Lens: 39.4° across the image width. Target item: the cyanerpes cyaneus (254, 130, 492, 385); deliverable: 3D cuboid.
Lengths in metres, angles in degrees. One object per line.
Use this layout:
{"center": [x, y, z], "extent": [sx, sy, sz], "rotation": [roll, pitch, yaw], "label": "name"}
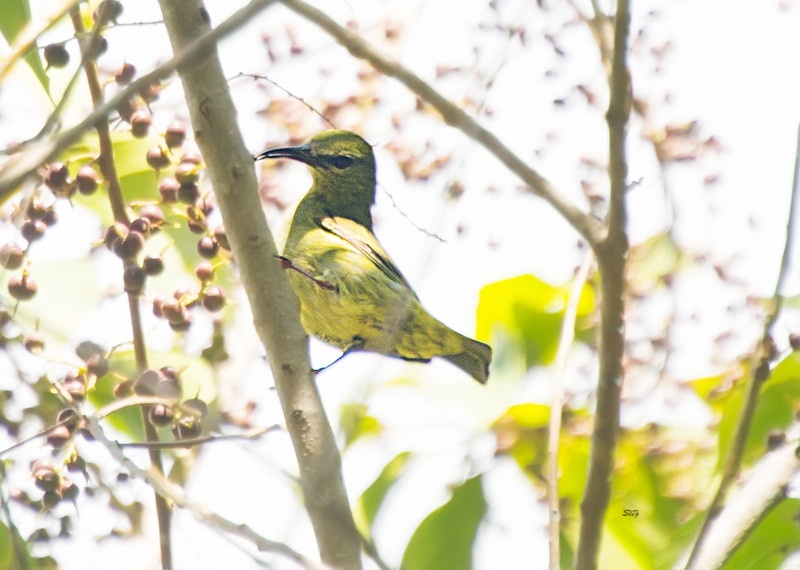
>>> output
{"center": [-0.053, -0.067, 2.414], "extent": [0.554, 0.495, 0.250], "rotation": [9, -13, -5], "label": "cyanerpes cyaneus"}
